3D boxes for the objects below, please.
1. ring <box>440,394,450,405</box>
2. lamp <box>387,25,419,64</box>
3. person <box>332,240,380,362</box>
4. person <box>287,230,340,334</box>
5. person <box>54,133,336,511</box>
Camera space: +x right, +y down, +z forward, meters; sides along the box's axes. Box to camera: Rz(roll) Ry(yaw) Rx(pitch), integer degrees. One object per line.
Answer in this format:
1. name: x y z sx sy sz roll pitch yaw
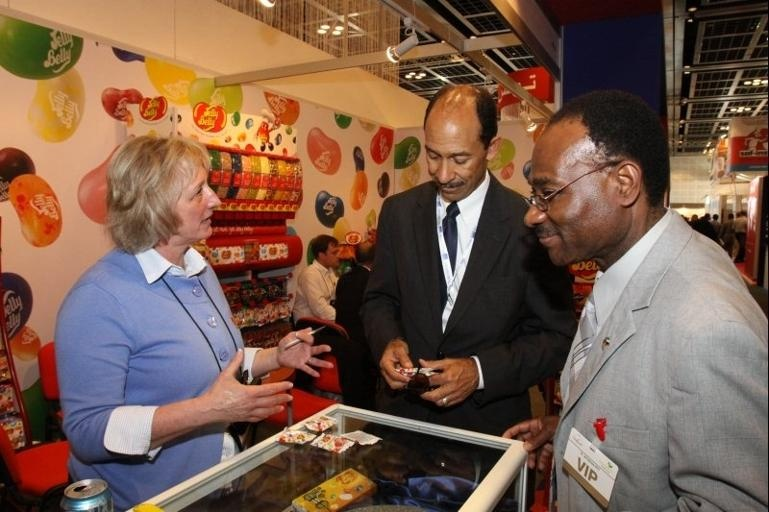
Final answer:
1. ring: 0.252 0.612 2.119 0.031 0.034 0.030 -6 -16 -2
2. lamp: 0.105 -1.296 3.114 0.121 0.220 0.268 -13 25 -18
3. person: -0.326 0.493 4.692 0.357 1.386 0.364 5 33 -13
4. person: -0.681 0.304 5.825 0.724 1.061 0.700 3 9 2
5. person: -0.918 0.251 2.087 0.919 1.492 0.688 -6 10 -15
